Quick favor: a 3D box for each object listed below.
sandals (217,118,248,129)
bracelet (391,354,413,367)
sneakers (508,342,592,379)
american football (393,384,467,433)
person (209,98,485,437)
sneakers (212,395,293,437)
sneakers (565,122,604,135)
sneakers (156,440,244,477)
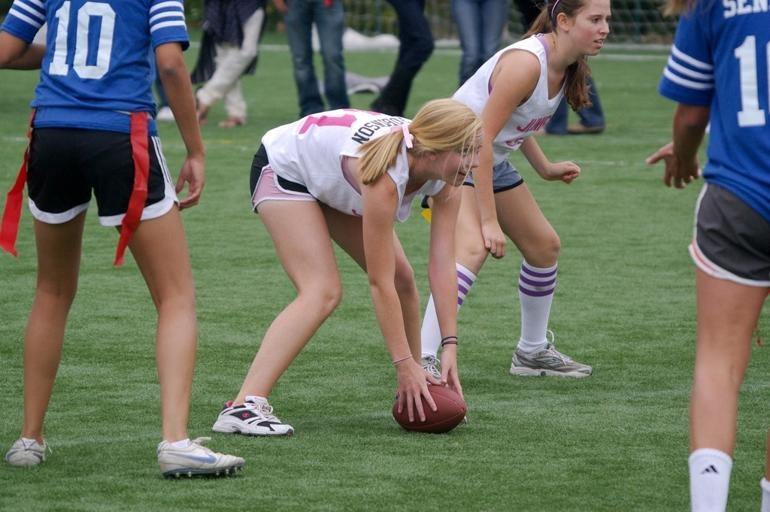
[{"bbox_3d":[-1.531,-1.314,11.328,0.113,0.083,0.213,2,2,39],"label":"sandals"},{"bbox_3d":[0.062,0.455,4.914,0.057,0.016,0.062,-25,9,22],"label":"bracelet"},{"bbox_3d":[0.807,0.511,5.647,0.449,0.213,0.162,1,0,5],"label":"sneakers"},{"bbox_3d":[0.194,0.676,5.062,0.278,0.174,0.184,3,7,3],"label":"american football"},{"bbox_3d":[-0.092,-0.020,5.179,1.150,1.538,1.019,3,16,17],"label":"person"},{"bbox_3d":[-0.583,0.709,5.005,0.345,0.175,0.148,4,-1,5],"label":"sneakers"},{"bbox_3d":[1.881,-1.196,10.780,0.373,0.162,0.130,-1,11,9],"label":"sneakers"},{"bbox_3d":[-0.766,0.818,4.679,0.400,0.199,0.132,0,-2,-11],"label":"sneakers"}]
